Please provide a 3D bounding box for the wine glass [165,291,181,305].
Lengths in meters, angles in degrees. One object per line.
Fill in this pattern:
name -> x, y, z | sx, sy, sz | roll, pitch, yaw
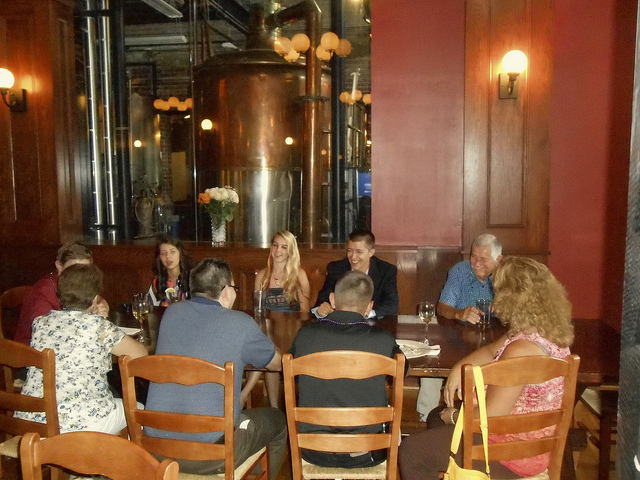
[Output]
wine glass -> -1.005, 0.392, 4.112 | 0.106, 0.100, 0.126 | 0, 3, -4

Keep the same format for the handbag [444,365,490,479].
handbag -> 0.663, 0.819, 2.742 | 0.192, 0.546, 0.221 | 0, 7, 13

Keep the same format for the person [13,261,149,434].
person -> -1.320, 0.616, 3.327 | 0.518, 1.175, 0.713 | 10, 20, 5

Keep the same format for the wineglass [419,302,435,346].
wineglass -> 0.639, 0.478, 3.627 | 0.084, 0.233, 0.373 | 0, 6, 10

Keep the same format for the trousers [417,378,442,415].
trousers -> 0.794, 1.131, 4.401 | 0.165, 0.279, 0.125 | 1, 7, 21

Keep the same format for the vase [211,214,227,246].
vase -> -1.004, -0.106, 5.993 | 0.139, 0.279, 0.387 | -2, 6, -10

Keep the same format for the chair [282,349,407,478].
chair -> 0.115, 0.825, 2.872 | 0.446, 0.907, 0.510 | 0, 27, 3
